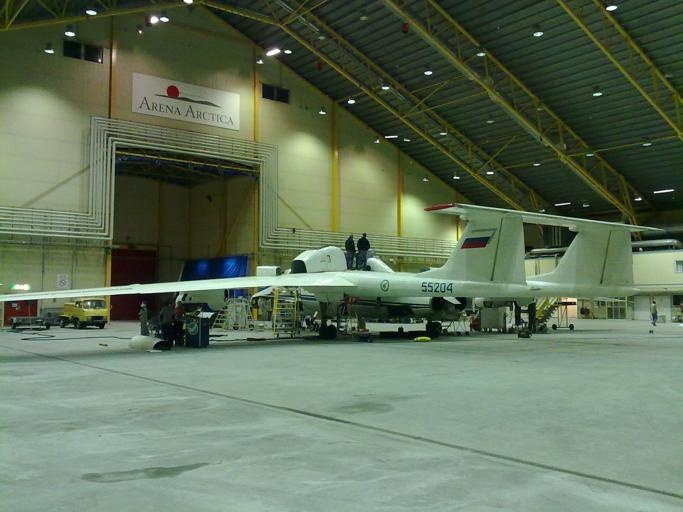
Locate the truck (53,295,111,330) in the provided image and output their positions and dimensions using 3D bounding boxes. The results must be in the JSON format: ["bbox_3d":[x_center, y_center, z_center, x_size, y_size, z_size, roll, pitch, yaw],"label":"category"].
[{"bbox_3d":[-11.901,2.645,31.358,1.317,1.006,2.324,4,-8,-40],"label":"truck"}]
